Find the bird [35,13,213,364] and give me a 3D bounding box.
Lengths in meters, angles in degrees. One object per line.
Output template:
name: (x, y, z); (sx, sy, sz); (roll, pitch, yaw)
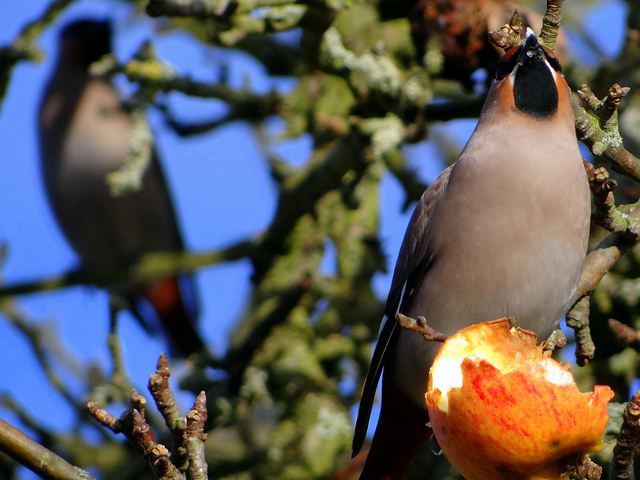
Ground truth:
bird: (-0.719, -0.265, 3.281); (0.248, 1.127, 0.635); (-15, 19, 21)
